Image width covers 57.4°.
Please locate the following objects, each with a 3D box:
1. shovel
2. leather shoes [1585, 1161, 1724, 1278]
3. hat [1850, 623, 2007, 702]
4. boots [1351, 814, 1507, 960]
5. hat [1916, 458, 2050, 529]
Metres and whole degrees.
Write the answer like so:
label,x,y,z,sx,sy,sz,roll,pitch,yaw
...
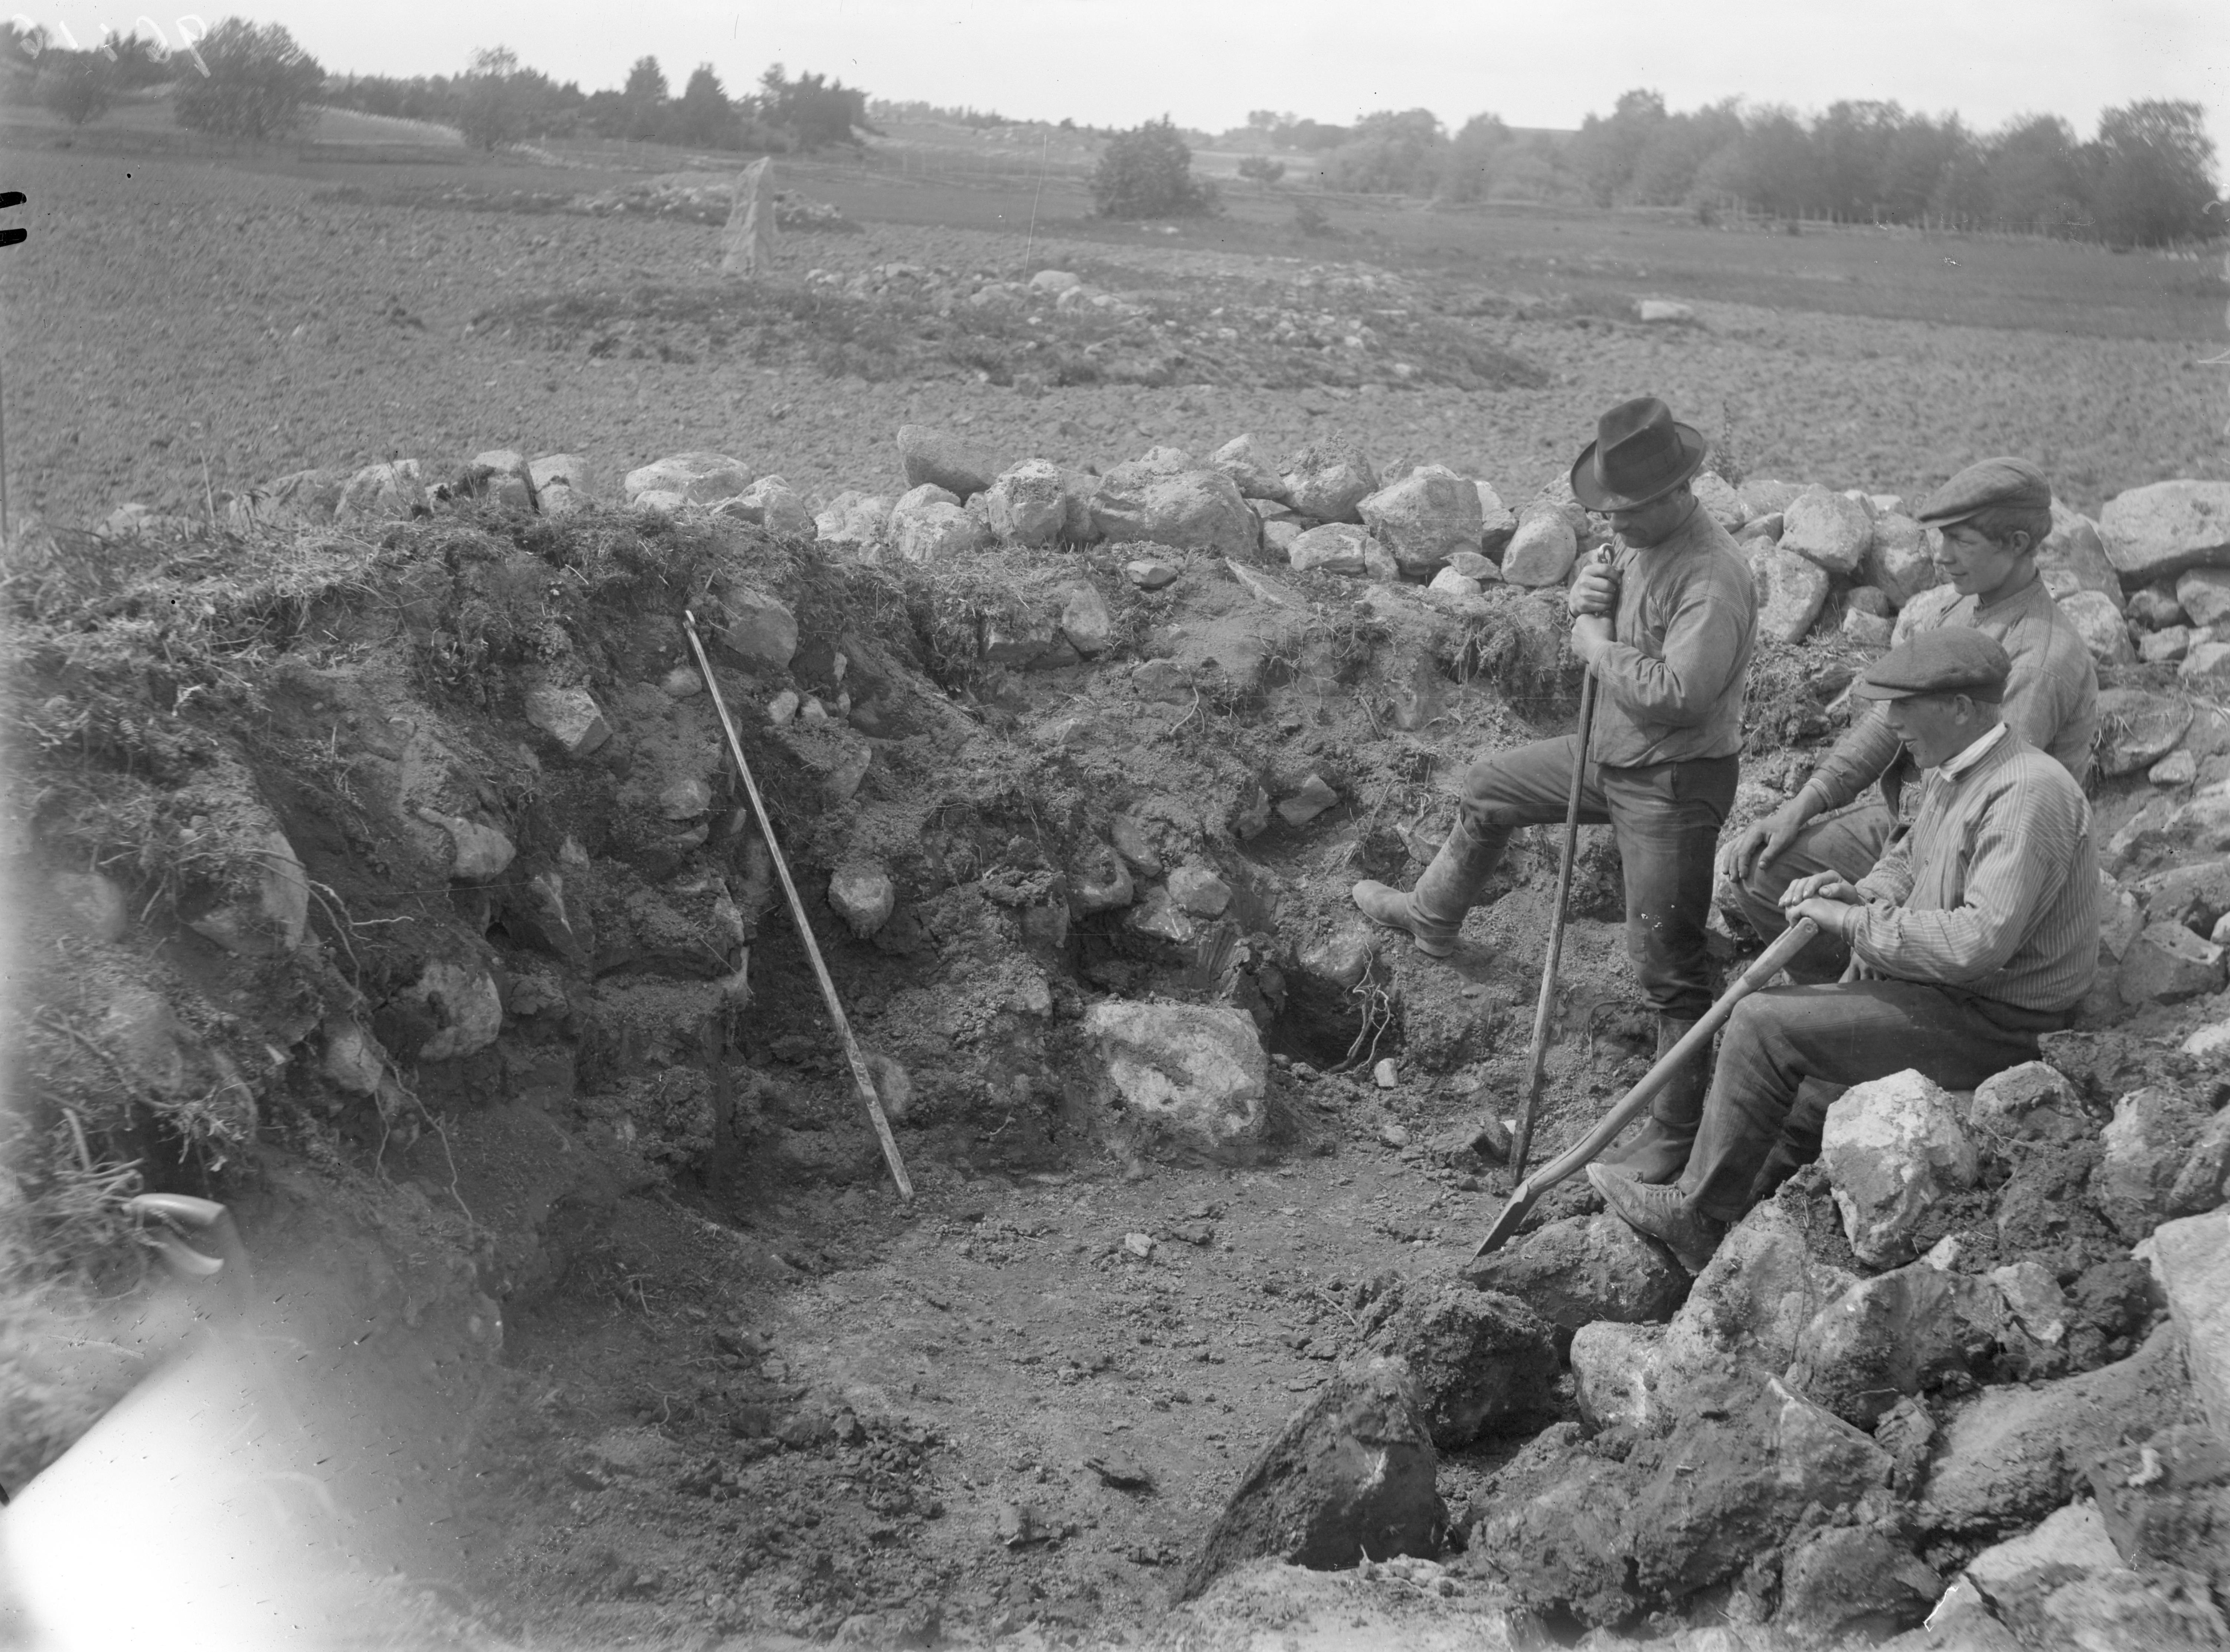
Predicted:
label,x,y,z,sx,sy,sz,roll,pitch,yaw
shovel,2.209,1.119,8.394,0.141,1.631,0.205,12,23,-41
leather shoes,2.121,1.514,8.081,0.611,0.271,0.215,41,-4,27
hat,3.061,-0.613,7.594,0.362,0.181,0.304,4,11,11
boots,1.439,0.197,9.487,0.587,0.653,0.307,29,23,-12
hat,3.413,-1.317,8.005,0.333,0.147,0.297,1,15,5
